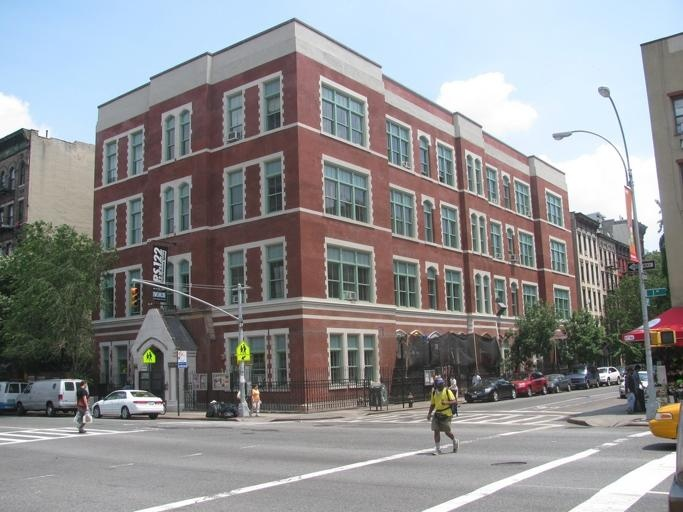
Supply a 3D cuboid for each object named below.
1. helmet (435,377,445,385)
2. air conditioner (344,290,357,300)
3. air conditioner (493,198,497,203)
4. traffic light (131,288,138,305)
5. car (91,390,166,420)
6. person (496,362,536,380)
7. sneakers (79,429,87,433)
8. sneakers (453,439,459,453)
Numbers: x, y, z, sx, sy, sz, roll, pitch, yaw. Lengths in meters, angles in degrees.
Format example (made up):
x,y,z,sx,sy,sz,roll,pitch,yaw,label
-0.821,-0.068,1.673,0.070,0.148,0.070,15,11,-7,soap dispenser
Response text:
x,y,z,sx,sy,sz,roll,pitch,yaw,label
3.216,4.142,21.733,0.259,0.278,0.317,-1,-32,-8,helmet
0.621,2.690,44.607,0.508,0.678,0.975,-8,-11,31,air conditioner
14.914,-5.329,64.495,0.508,0.332,0.509,5,-9,-34,air conditioner
-11.266,2.178,36.183,0.223,0.969,0.391,-2,-14,-6,traffic light
-12.515,8.706,38.717,4.029,1.654,1.271,-11,-16,24,car
14.668,9.822,56.392,1.169,1.044,2.092,-11,-21,40,person
-11.570,7.859,29.646,0.152,0.201,0.451,10,-19,-40,sneakers
3.621,6.091,21.154,0.189,0.449,0.146,18,-19,-30,sneakers
